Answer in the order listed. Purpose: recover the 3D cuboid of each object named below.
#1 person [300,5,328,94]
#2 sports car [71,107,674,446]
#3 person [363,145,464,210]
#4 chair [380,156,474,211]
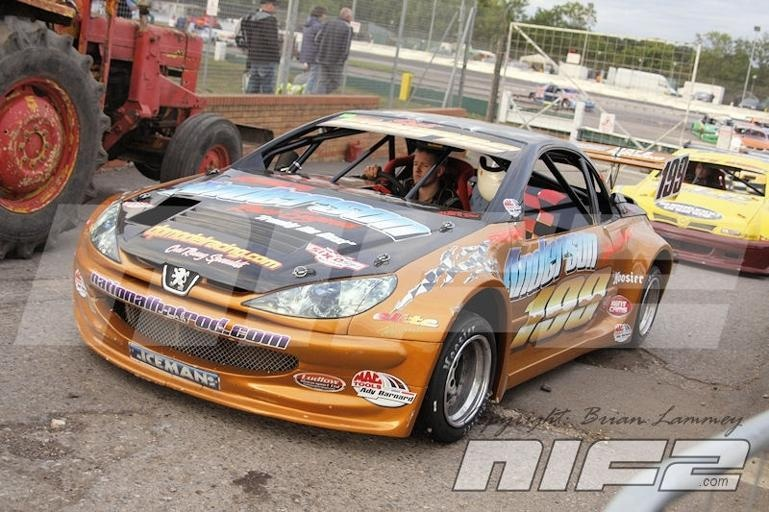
[{"bbox_3d":[-1.615,-4.447,11.631,0.228,1.795,0.730,14,20,16],"label":"person"},{"bbox_3d":[0.241,-0.361,4.819,3.229,1.332,4.736,18,25,32],"label":"sports car"},{"bbox_3d":[0.331,-0.730,4.848,0.945,0.281,0.724,-5,-1,41],"label":"person"},{"bbox_3d":[0.497,-0.681,4.902,0.671,0.427,0.773,8,3,-25],"label":"chair"}]
